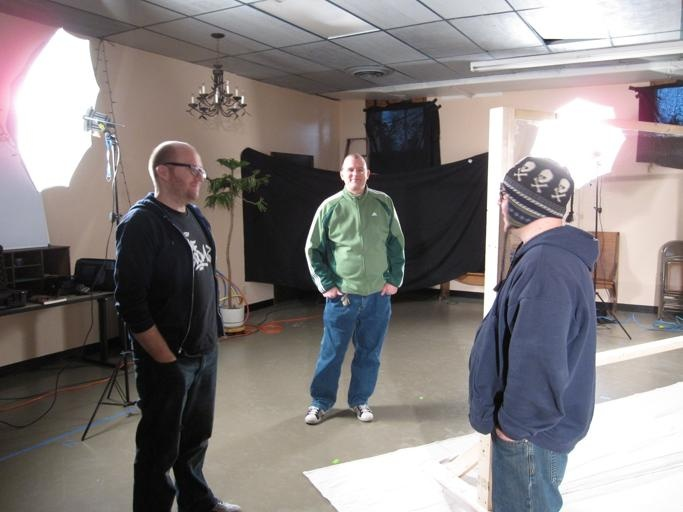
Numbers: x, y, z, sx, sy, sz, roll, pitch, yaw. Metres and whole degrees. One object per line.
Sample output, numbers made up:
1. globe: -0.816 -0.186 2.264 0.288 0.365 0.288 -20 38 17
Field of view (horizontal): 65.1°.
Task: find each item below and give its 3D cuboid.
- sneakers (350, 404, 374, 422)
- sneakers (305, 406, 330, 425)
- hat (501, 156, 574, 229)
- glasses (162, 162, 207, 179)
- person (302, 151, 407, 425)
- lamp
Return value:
1. sneakers: 0.164 1.190 4.039 0.074 0.078 0.200 0 -11 -21
2. sneakers: -0.198 1.193 3.994 0.079 0.092 0.234 -2 -11 15
3. hat: 0.885 -0.286 2.446 0.315 0.346 0.258 13 9 26
4. glasses: -0.806 -0.456 2.780 0.113 0.033 0.111 10 -1 8
5. person: 0.090 0.262 3.907 0.703 1.936 0.408 1 12 6
6. lamp: -1.415 -1.979 6.046 0.757 0.850 0.754 0 -1 -2
